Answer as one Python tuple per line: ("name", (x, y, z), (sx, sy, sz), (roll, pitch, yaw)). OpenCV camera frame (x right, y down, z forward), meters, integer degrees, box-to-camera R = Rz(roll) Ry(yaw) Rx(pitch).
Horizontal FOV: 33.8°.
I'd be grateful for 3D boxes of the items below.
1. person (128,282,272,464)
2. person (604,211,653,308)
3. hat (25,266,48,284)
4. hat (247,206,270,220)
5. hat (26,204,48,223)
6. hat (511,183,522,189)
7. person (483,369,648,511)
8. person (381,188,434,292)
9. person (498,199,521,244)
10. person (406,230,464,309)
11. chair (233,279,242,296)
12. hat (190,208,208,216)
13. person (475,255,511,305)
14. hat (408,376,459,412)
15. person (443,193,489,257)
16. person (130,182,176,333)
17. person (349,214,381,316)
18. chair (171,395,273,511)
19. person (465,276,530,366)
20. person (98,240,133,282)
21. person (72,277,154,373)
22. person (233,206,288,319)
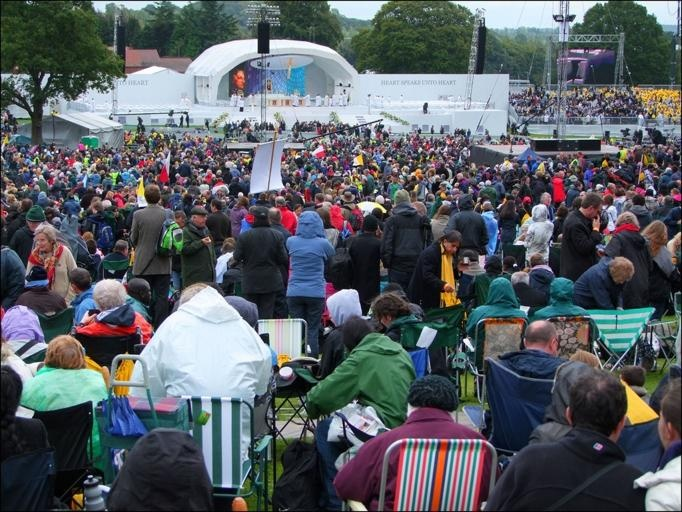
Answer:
("person", (-1.353, 1.161, 10.704), (1.432, 1.859, 0.885), (4, -10, -8))
("person", (3.836, 0.107, 14.683), (0.575, 1.584, 0.538), (-10, 29, -1))
("hat", (-3.599, 0.215, 13.222), (0.171, 0.158, 0.234), (0, 7, -29))
("hat", (-1.100, -0.581, 14.979), (0.211, 0.118, 0.315), (0, 5, -8))
("hat", (-4.212, -0.586, 15.379), (0.203, 0.199, 0.273), (-2, 5, -41))
("hat", (3.673, -1.462, 23.265), (0.126, 0.074, 0.192), (7, -2, 26))
("person", (1.944, 1.560, 9.417), (1.193, 1.144, 0.375), (1, 4, 7))
("person", (0.885, 0.016, 15.366), (0.633, 1.857, 0.578), (-8, 18, -19))
("person", (2.918, -0.616, 19.420), (0.327, 0.759, 0.974), (1, 4, 8))
("person", (1.247, 0.157, 14.187), (0.678, 0.961, 0.708), (0, 4, -13))
("chair", (-1.385, 0.429, 14.985), (0.161, 0.273, 0.170), (0, 2, -5))
("hat", (-1.934, -0.619, 15.294), (0.248, 0.115, 0.174), (-2, 5, -34))
("person", (1.812, 0.293, 13.382), (0.461, 0.811, 0.255), (4, 11, 16))
("hat", (0.836, 1.185, 10.046), (0.342, 0.380, 0.307), (-3, 1, 35))
("person", (1.815, -0.106, 16.220), (0.602, 1.611, 0.446), (1, 7, 2))
("person", (-2.631, 0.046, 15.316), (0.569, 2.163, 0.623), (-5, 22, -25))
("person", (0.324, 0.146, 15.483), (0.486, 1.653, 0.455), (5, 33, 1))
("chair", (-1.090, 1.721, 10.730), (0.790, 1.293, 1.047), (1, 17, 6))
("person", (1.769, 0.697, 12.476), (0.692, 1.016, 0.546), (0, -23, 15))
("person", (-3.247, 0.061, 16.087), (0.450, 0.782, 0.542), (0, 18, -16))
("person", (-2.479, 1.030, 12.190), (0.844, 1.440, 0.893), (-2, -9, -26))
("person", (-1.079, 0.202, 14.752), (0.633, 1.851, 0.524), (0, 12, -4))
